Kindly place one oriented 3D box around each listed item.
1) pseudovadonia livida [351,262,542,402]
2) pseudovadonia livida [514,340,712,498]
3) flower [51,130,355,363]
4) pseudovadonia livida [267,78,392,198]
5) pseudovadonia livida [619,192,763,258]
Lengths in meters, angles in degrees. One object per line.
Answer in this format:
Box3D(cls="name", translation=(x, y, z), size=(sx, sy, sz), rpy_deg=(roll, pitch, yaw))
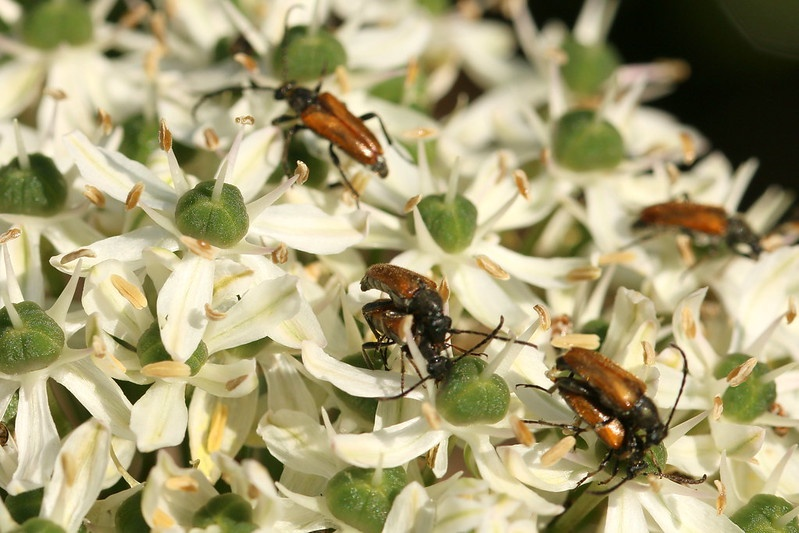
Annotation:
Box3D(cls="pseudovadonia livida", translation=(0.047, 0.102, 1.477), size=(0.240, 0.083, 0.253), rpy_deg=(-28, 60, -29))
Box3D(cls="pseudovadonia livida", translation=(0.363, 0.269, 1.481), size=(0.255, 0.077, 0.258), rpy_deg=(-37, 103, -34))
Box3D(cls="flower", translation=(-0.326, -0.037, 1.445), size=(0.444, 0.162, 0.398), rpy_deg=(11, 10, -12))
Box3D(cls="pseudovadonia livida", translation=(-0.152, -0.277, 1.816), size=(0.273, 0.085, 0.203), rpy_deg=(45, 70, -4))
Box3D(cls="pseudovadonia livida", translation=(0.626, -0.080, 1.781), size=(0.185, 0.057, 0.133), rpy_deg=(19, 42, -13))
